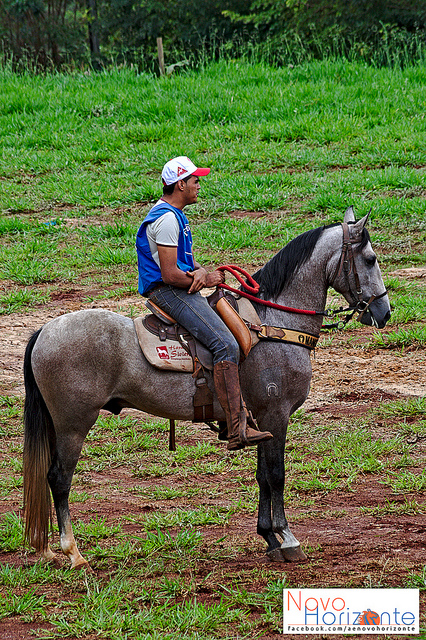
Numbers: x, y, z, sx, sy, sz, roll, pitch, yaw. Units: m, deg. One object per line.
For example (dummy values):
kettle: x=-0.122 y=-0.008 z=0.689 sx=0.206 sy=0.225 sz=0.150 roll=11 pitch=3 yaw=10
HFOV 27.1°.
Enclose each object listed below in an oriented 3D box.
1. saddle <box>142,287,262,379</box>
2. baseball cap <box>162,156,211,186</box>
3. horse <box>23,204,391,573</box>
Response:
saddle: x=-0.117 y=0.000 z=5.915 sx=0.697 sy=0.555 sz=0.905 roll=12 pitch=19 yaw=30
baseball cap: x=-0.167 y=-0.985 z=5.764 sx=0.295 sy=0.125 sz=0.168 roll=-15 pitch=14 yaw=2
horse: x=-0.010 y=0.599 z=6.722 sx=3.744 sy=2.251 sz=1.861 roll=16 pitch=27 yaw=42
